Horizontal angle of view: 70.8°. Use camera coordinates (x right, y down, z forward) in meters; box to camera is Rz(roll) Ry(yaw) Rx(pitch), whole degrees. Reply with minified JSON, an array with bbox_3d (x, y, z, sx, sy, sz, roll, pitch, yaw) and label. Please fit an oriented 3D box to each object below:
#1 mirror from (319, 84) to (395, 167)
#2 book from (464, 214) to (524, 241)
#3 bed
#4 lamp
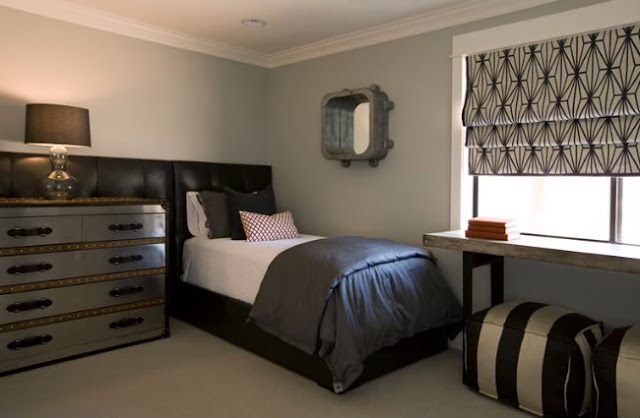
[{"bbox_3d":[0.422,-0.892,4.818,0.292,0.917,0.878,-2,2,-43],"label":"mirror"},{"bbox_3d":[1.408,0.164,3.654,0.213,0.142,0.283,0,0,-40],"label":"book"},{"bbox_3d":[-0.265,0.495,4.957,1.543,2.011,3.113,-1,1,-43],"label":"bed"},{"bbox_3d":[-2.447,-0.494,4.220,0.518,0.862,0.541,1,3,34],"label":"lamp"}]
